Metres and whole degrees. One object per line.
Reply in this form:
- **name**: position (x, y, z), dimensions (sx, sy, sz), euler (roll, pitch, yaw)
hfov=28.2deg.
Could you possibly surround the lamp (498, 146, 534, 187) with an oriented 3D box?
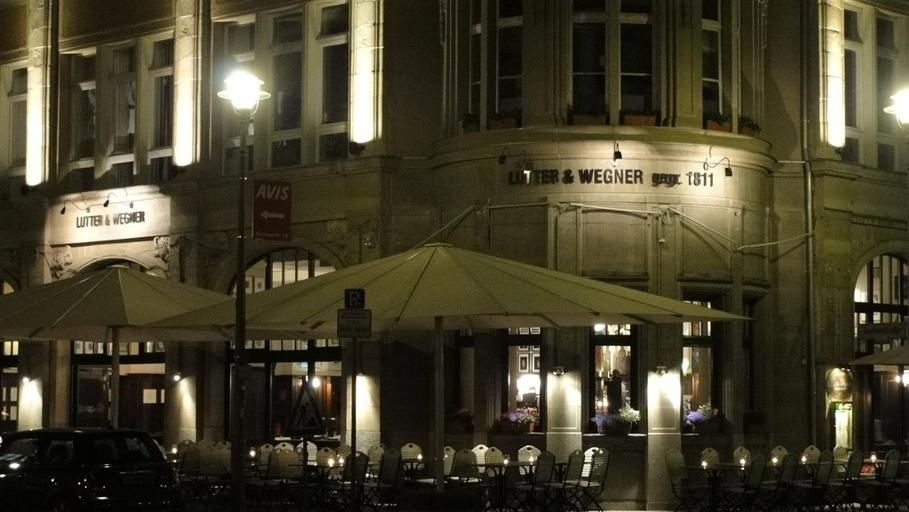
- **lamp**: position (1.803, -2.758, 55.082), dimensions (1.016, 0.931, 0.590), euler (2, 16, -17)

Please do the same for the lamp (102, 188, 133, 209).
- **lamp**: position (-11.475, -1.985, 61.149), dimensions (1.166, 0.693, 0.216), euler (4, 17, 24)

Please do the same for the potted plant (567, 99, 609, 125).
- **potted plant**: position (4.035, -4.393, 55.200), dimensions (1.277, 0.625, 0.812), euler (-2, 14, 2)

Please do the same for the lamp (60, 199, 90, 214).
- **lamp**: position (-13.122, -1.709, 61.975), dimensions (1.271, 0.502, 0.192), euler (5, 17, 25)

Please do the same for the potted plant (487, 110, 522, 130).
- **potted plant**: position (1.486, -4.164, 55.433), dimensions (0.838, 0.376, 0.622), euler (-1, -5, 15)

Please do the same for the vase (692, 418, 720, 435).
- **vase**: position (7.755, 5.211, 55.716), dimensions (0.935, 0.417, 0.550), euler (-1, 6, -1)

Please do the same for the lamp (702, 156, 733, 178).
- **lamp**: position (8.042, -2.728, 55.372), dimensions (0.964, 0.676, 0.218), euler (-5, 16, -12)

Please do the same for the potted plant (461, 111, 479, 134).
- **potted plant**: position (0.376, -4.176, 56.225), dimensions (0.620, 0.729, 0.656), euler (0, -1, -14)

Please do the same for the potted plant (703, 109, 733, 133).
- **potted plant**: position (8.048, -4.088, 55.827), dimensions (1.149, 0.707, 0.600), euler (5, -8, -34)

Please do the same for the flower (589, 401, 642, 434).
- **flower**: position (4.900, 4.973, 55.296), dimensions (1.344, 0.631, 1.190), euler (-5, 7, -21)

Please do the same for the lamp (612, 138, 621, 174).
- **lamp**: position (4.902, -3.071, 54.810), dimensions (0.305, 0.835, 0.346), euler (-1, 15, 5)
